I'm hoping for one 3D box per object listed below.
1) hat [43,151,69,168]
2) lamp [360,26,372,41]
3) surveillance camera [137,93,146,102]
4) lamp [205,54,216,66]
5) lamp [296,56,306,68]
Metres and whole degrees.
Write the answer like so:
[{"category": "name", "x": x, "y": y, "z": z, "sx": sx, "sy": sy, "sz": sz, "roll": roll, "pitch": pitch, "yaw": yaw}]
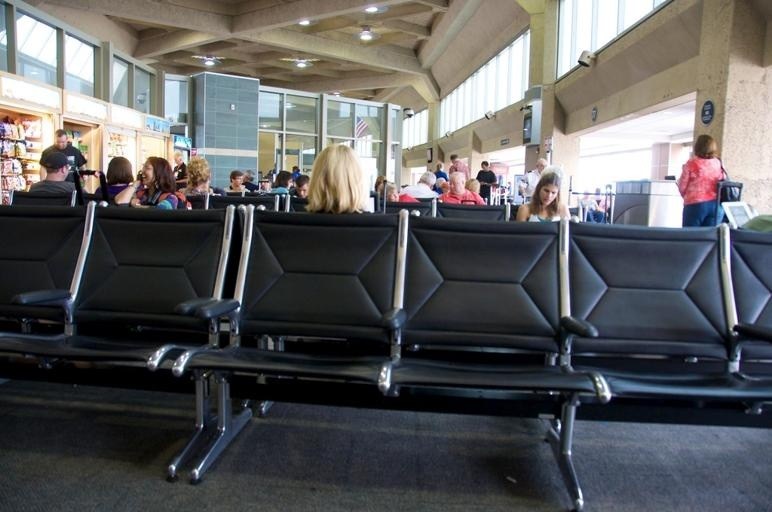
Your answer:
[{"category": "hat", "x": -3.384, "y": -0.973, "z": 6.213, "sx": 0.209, "sy": 0.172, "sz": 0.228, "roll": -6, "pitch": 11, "yaw": -41}, {"category": "lamp", "x": -0.555, "y": -6.041, "z": 16.302, "sx": 0.416, "sy": 0.271, "sz": 0.400, "roll": 0, "pitch": -15, "yaw": 0}, {"category": "surveillance camera", "x": -5.675, "y": -3.640, "z": 13.962, "sx": 0.231, "sy": 0.212, "sz": 0.173, "roll": 8, "pitch": 7, "yaw": 36}, {"category": "lamp", "x": -5.361, "y": -5.958, "z": 18.325, "sx": 0.309, "sy": 0.210, "sz": 0.664, "roll": -1, "pitch": 8, "yaw": -15}, {"category": "lamp", "x": -2.676, "y": -6.171, "z": 19.182, "sx": 0.306, "sy": 0.172, "sz": 0.295, "roll": 4, "pitch": -5, "yaw": -26}]
